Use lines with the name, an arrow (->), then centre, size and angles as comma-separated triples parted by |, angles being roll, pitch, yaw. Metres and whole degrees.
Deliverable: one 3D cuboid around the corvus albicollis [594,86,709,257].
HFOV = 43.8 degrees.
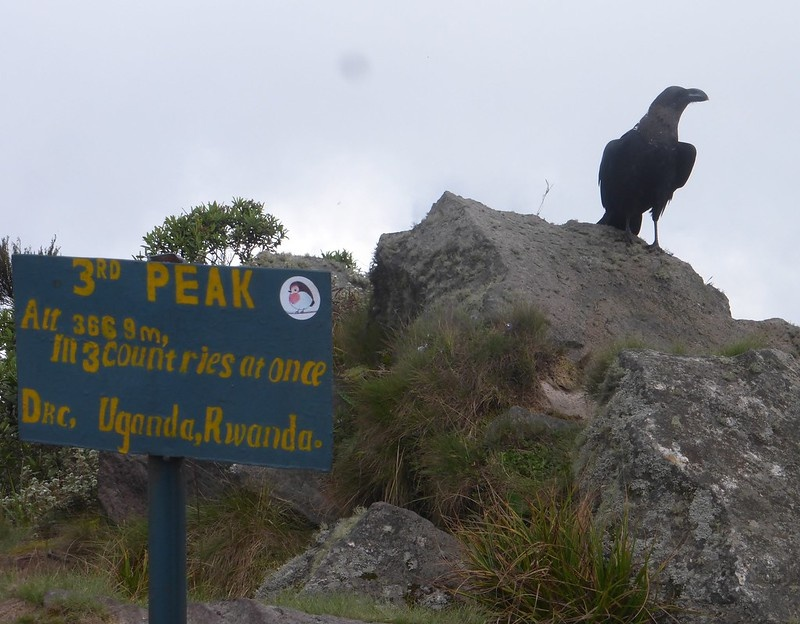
corvus albicollis -> 2.572, -1.482, 10.504 | 0.873, 1.628, 1.206 | -1, 0, -9
